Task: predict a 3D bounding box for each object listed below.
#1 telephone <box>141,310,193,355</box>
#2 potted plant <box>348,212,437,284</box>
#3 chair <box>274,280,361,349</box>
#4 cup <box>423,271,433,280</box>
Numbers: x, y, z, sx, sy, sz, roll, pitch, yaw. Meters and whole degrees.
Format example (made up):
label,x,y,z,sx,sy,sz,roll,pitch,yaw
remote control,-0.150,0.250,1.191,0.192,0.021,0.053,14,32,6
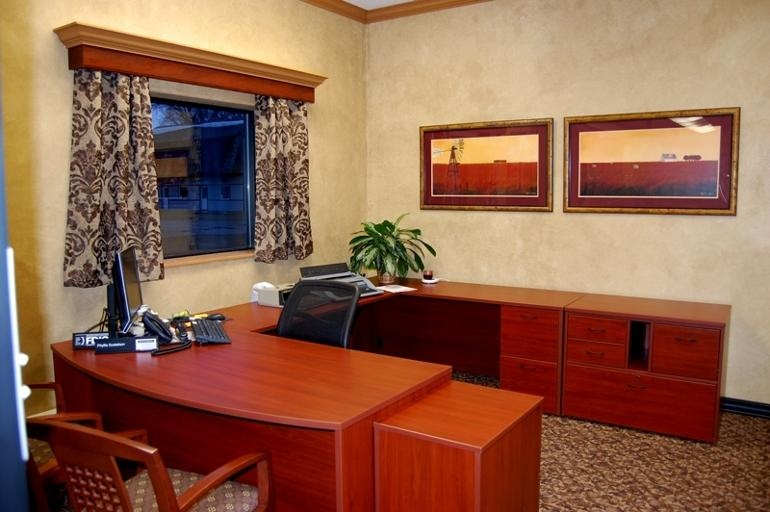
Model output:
label,x,y,z,sx,sy,sz,roll,pitch,yaw
telephone,-1.370,0.480,3.441,0.301,0.097,0.225,8,10,32
potted plant,0.077,-0.074,5.636,0.685,0.516,0.786,0,0,33
chair,-0.449,0.390,3.890,0.452,0.567,0.488,7,-3,14
cup,0.428,0.198,5.487,0.086,0.092,0.087,0,3,0
